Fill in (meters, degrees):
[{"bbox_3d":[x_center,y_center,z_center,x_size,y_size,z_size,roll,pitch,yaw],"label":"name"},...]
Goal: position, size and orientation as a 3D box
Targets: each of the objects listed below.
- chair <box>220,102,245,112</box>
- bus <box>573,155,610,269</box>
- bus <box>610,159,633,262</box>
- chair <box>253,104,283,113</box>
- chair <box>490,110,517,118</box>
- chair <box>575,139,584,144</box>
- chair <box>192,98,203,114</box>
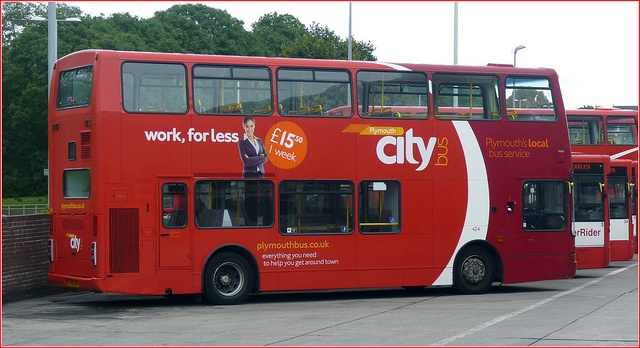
[{"bbox_3d":[-2.935,-2.183,27.341,0.519,0.169,0.347,-3,-14,-20],"label":"chair"},{"bbox_3d":[10.861,1.472,33.020,1.476,4.139,2.326,3,15,17],"label":"bus"},{"bbox_3d":[12.583,1.473,34.413,1.204,3.954,1.867,3,15,18],"label":"bus"},{"bbox_3d":[-1.751,-2.163,27.542,0.995,0.326,0.181,-2,14,-5],"label":"chair"},{"bbox_3d":[6.517,-2.094,29.167,0.724,0.174,0.377,0,1,-4],"label":"chair"},{"bbox_3d":[12.070,-1.498,38.323,0.432,0.170,0.154,-3,14,-10],"label":"chair"},{"bbox_3d":[-4.010,-2.224,27.142,0.314,0.486,0.481,-1,-13,-6],"label":"chair"}]
